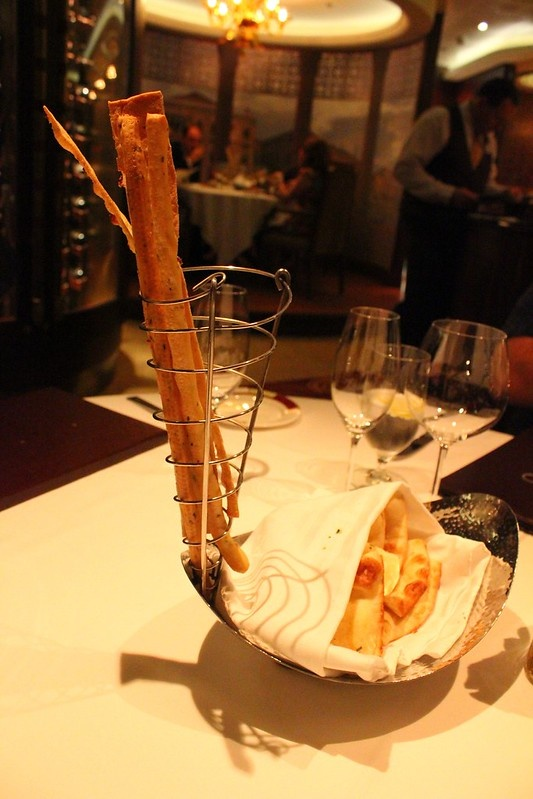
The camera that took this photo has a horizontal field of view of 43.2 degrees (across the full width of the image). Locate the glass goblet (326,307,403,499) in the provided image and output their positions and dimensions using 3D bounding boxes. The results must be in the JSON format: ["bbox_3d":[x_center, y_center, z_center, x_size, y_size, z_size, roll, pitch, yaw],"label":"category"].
[{"bbox_3d":[0.102,0.027,0.745,0.075,0.254,0.072,4,8,-18],"label":"glass goblet"}]

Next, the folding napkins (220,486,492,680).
[{"bbox_3d":[0.054,0.116,0.476,0.180,0.049,0.167,-13,37,-10],"label":"folding napkins"}]
